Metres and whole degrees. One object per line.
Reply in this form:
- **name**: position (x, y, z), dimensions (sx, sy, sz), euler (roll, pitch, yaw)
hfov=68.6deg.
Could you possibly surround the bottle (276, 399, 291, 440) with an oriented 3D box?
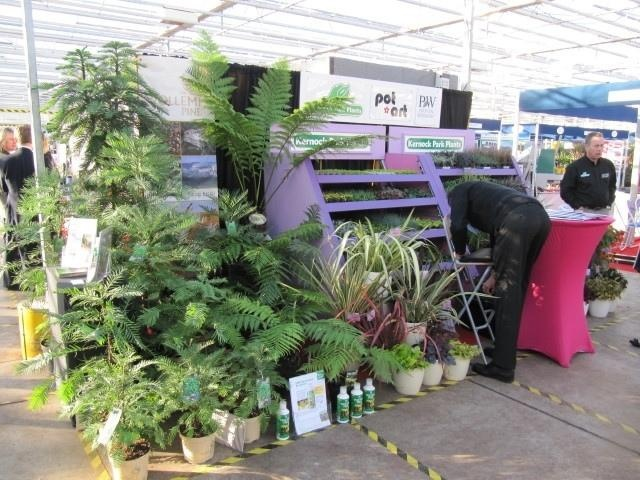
- **bottle**: position (-0.270, 1.313, 3.441), dimensions (0.108, 0.262, 0.103), euler (0, -1, 0)

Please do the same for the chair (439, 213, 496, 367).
- **chair**: position (1.553, 0.465, 4.788), dimensions (0.610, 1.111, 0.572), euler (1, 0, -25)
